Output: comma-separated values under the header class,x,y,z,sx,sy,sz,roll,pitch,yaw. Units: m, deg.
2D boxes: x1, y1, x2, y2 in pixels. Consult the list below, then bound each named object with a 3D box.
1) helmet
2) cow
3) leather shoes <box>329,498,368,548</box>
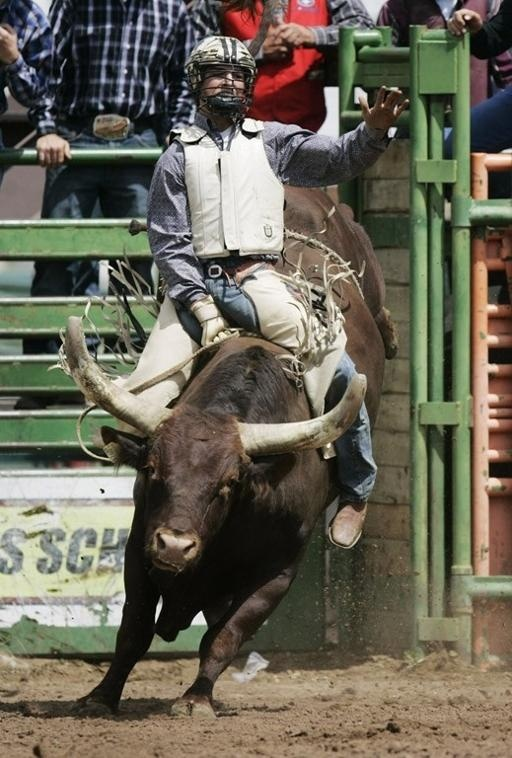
class,x,y,z,sx,sy,sz,roll,pitch,yaw
helmet,-0.151,-1.278,5.988,0.253,0.240,0.292,1,-12,-10
cow,0.043,0.060,5.963,1.023,1.424,2.443,10,42,9
leather shoes,0.404,0.609,6.097,0.098,0.118,0.281,25,10,2
